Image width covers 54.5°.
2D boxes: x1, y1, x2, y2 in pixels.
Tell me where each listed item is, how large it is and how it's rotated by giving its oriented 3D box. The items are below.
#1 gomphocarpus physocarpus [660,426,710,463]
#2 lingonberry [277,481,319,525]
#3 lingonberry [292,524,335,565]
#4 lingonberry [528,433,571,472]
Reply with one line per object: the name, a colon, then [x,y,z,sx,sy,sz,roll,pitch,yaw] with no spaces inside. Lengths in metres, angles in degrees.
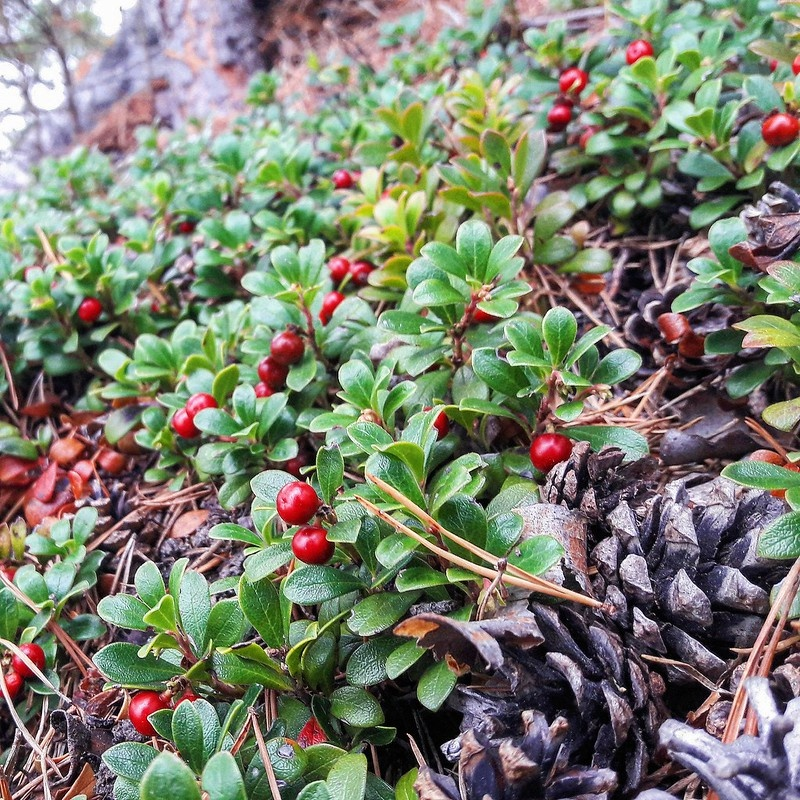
gomphocarpus physocarpus: [0.968,0.160,2.666,0.133,0.119,0.091,-9,65,59]
lingonberry: [-0.286,0.296,2.175,0.112,0.084,0.105,-29,19,-13]
lingonberry: [-0.239,0.407,2.200,0.111,0.108,0.105,7,68,26]
lingonberry: [0.466,0.156,2.417,0.127,0.139,0.122,3,3,5]
